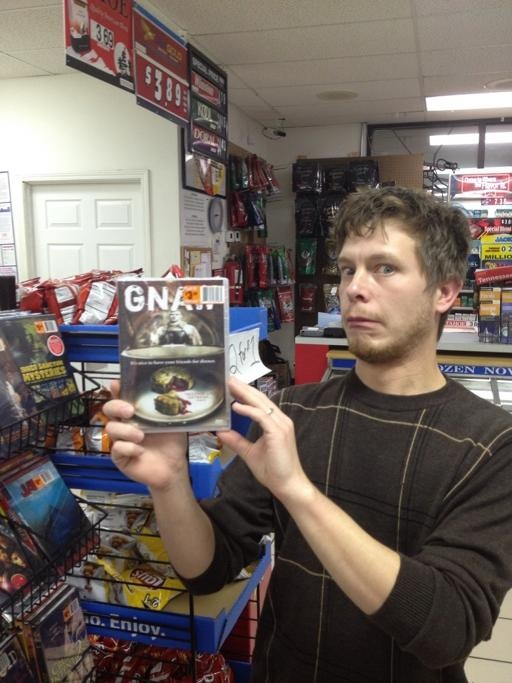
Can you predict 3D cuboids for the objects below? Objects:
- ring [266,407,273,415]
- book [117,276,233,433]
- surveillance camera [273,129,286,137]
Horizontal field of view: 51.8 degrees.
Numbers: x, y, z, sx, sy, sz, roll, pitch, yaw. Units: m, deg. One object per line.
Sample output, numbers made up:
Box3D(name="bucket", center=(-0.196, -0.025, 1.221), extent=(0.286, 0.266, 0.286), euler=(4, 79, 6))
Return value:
Box3D(name="ring", center=(0.020, 0.102, 0.769), extent=(0.010, 0.007, 0.013), euler=(0, 2, 7))
Box3D(name="book", center=(-0.129, 0.020, 0.829), extent=(0.259, 0.328, 0.028), euler=(-1, 1, -1))
Box3D(name="surveillance camera", center=(0.305, -2.689, 6.792), extent=(0.057, 0.127, 0.184), euler=(-29, 41, -33))
